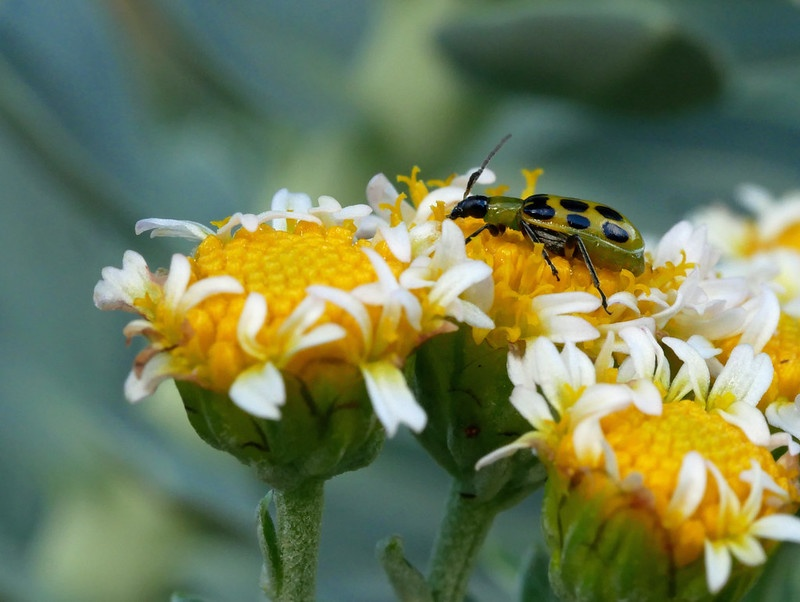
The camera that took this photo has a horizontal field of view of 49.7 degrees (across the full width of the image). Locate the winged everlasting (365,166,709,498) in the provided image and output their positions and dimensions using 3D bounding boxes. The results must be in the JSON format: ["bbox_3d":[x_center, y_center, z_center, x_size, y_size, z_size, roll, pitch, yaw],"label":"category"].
[{"bbox_3d":[0.144,0.032,1.129,0.371,0.375,0.163,0,0,1],"label":"winged everlasting"}]

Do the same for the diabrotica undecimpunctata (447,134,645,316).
[{"bbox_3d":[0.180,-0.105,1.064,0.252,0.141,0.195,12,20,8],"label":"diabrotica undecimpunctata"}]

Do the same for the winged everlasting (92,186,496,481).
[{"bbox_3d":[-0.113,0.014,0.890,0.334,0.187,0.325,-14,34,-38],"label":"winged everlasting"}]
